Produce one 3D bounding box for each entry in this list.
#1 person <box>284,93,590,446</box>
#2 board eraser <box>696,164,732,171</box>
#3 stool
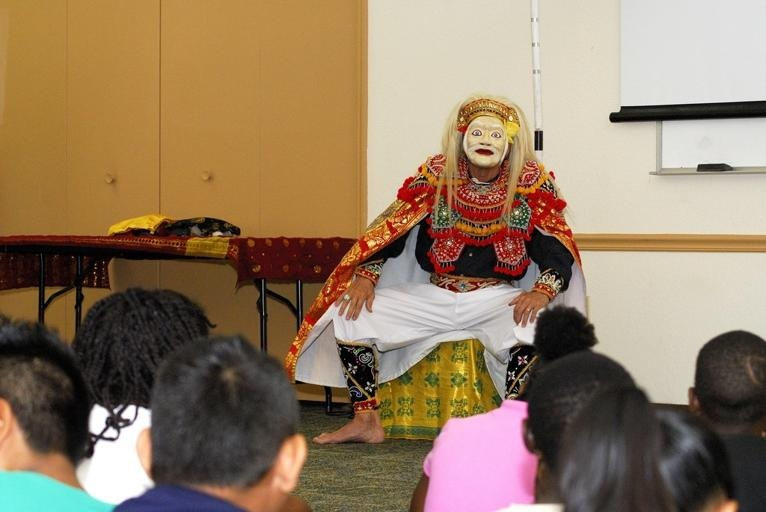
[{"bbox_3d":[0.283,0.046,4.272,1.269,1.714,0.883,7,2,21],"label":"person"},{"bbox_3d":[1.680,-0.445,4.744,0.169,0.038,0.048,1,6,21],"label":"board eraser"},{"bbox_3d":[0.264,0.631,4.392,0.434,0.405,0.521,3,-9,-30],"label":"stool"}]
